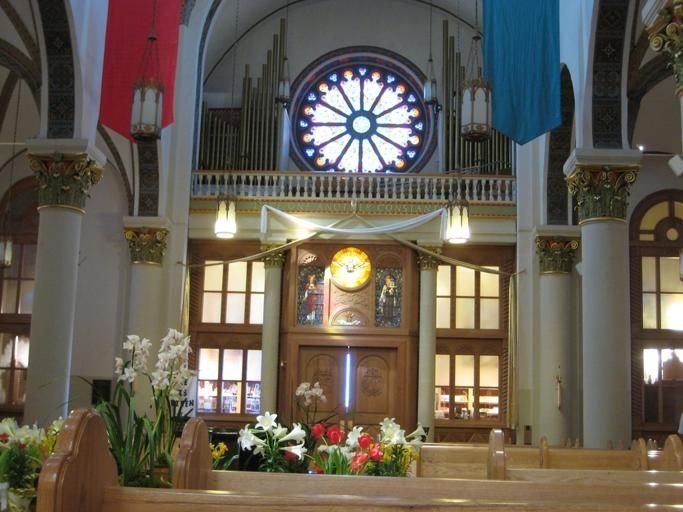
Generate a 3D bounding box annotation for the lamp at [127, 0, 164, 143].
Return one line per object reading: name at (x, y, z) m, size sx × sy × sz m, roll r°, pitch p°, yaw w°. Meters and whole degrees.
lamp at (-2.974, -2.970, 14.898) m, size 0.479 × 2.406 × 0.523 m, roll 4°, pitch -12°, yaw -12°
